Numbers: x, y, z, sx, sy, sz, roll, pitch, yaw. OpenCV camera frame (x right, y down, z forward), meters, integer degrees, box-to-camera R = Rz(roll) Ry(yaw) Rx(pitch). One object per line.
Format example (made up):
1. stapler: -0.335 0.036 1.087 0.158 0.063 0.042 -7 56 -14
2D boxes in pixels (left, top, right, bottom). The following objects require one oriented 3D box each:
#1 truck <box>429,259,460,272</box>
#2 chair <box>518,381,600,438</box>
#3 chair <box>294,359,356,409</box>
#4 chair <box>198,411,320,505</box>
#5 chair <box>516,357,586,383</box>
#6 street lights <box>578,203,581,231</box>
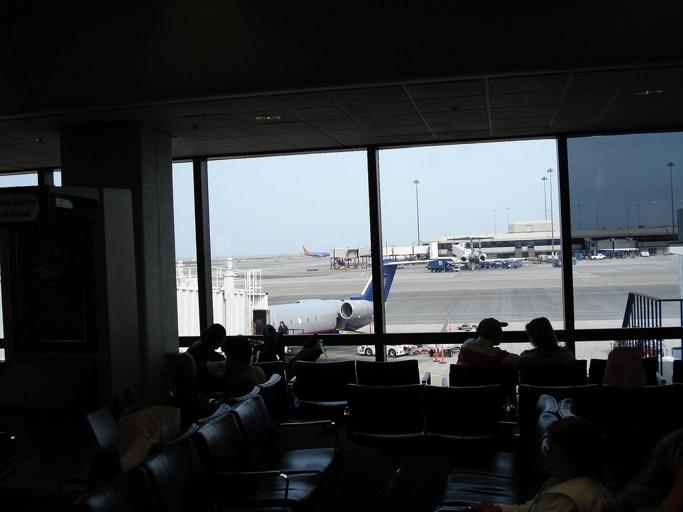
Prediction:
1. truck: 5.974 0.504 39.511 1.805 0.818 1.306 -1 2 2
2. chair: 1.766 1.183 5.634 0.464 0.624 0.523 1 -2 9
3. chair: -0.149 1.205 6.675 0.471 0.525 0.488 1 17 6
4. chair: -0.631 1.460 5.156 0.704 0.511 0.704 2 -2 7
5. chair: 1.942 1.049 6.221 0.624 0.210 0.378 -2 4 5
6. street lights: 3.062 -0.505 8.776 0.025 0.316 0.130 0 4 31
